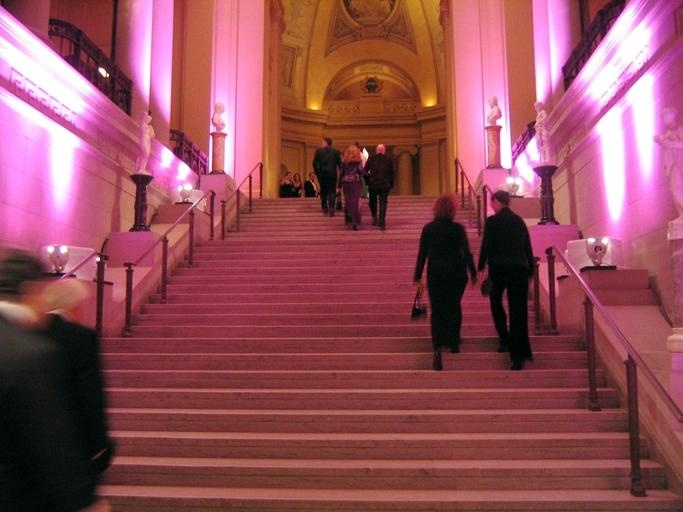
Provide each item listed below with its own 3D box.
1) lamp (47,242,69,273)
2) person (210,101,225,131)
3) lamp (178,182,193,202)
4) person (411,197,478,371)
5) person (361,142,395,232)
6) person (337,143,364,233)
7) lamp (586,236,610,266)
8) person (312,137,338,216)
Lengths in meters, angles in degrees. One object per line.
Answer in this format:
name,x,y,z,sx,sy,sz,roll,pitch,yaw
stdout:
lamp,-3.543,0.045,7.073,0.288,0.393,0.298,-12,-14,41
person,-3.092,-3.483,14.237,0.276,0.746,1.151,-2,8,-12
lamp,-3.292,-1.317,11.969,0.242,0.385,0.705,-3,9,-15
person,1.049,0.258,5.732,0.599,1.704,0.588,1,7,12
person,0.741,-1.393,11.261,0.574,1.626,1.176,-1,7,2
person,0.207,-1.368,11.173,0.459,1.633,0.956,-1,7,0
lamp,3.107,-0.049,6.897,0.256,0.319,0.204,-7,9,-38
person,-0.317,-1.706,12.163,0.569,1.630,1.222,-1,7,-1
